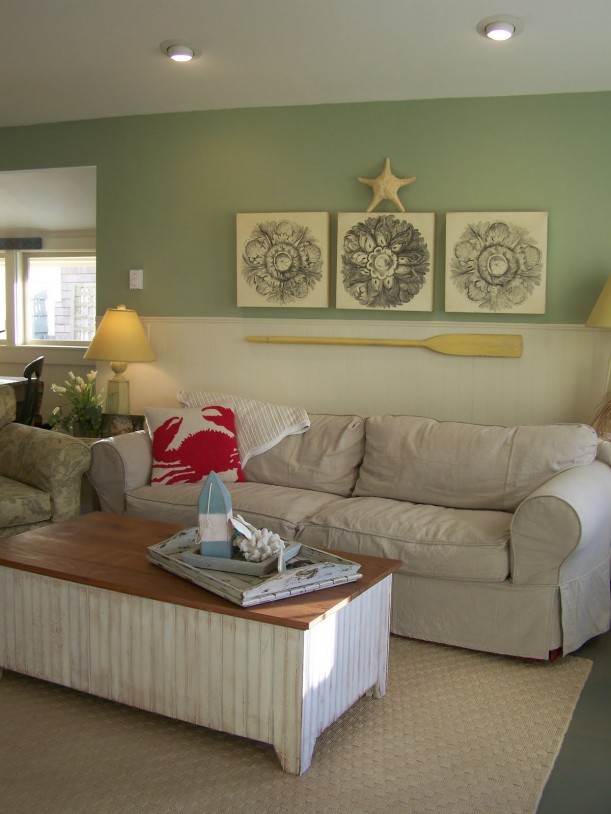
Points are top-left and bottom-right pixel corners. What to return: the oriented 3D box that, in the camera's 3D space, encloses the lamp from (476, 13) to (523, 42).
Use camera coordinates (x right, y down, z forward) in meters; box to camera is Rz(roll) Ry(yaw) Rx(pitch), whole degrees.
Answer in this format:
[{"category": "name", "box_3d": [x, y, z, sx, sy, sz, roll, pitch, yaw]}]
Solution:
[{"category": "lamp", "box_3d": [0.682, -1.350, 2.371, 0.152, 0.040, 0.159, 2, 1, 15]}]
